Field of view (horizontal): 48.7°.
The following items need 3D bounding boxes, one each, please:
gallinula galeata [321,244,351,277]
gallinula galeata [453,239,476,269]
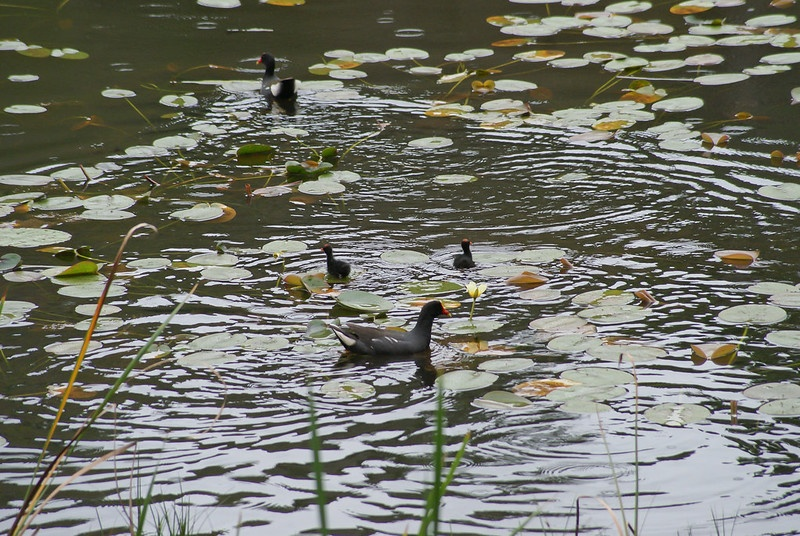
[{"bbox_3d":[-0.748,-0.070,10.511,0.290,0.415,0.265,-7,4,-2],"label":"gallinula galeata"},{"bbox_3d":[0.750,-0.167,10.618,0.275,0.348,0.262,-6,4,3],"label":"gallinula galeata"}]
